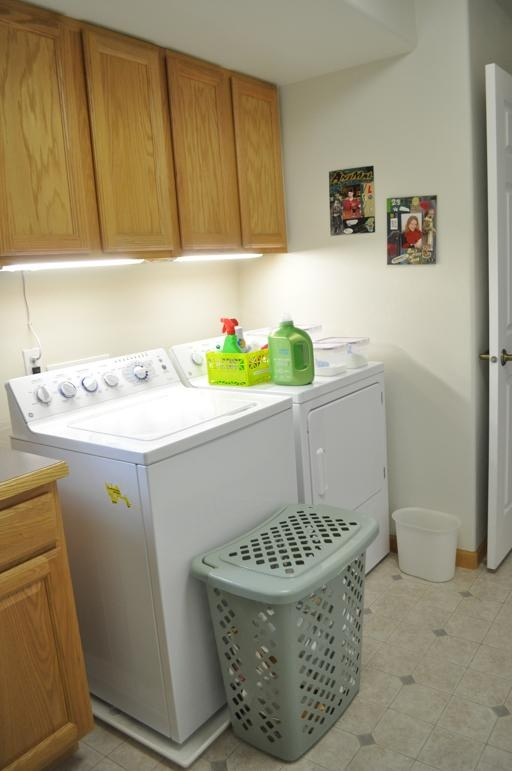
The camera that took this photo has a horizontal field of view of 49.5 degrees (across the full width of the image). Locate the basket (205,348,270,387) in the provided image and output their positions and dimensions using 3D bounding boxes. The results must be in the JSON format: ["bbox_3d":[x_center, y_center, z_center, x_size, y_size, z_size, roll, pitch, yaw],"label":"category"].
[{"bbox_3d":[-0.075,-0.062,2.100,0.163,0.113,0.169,-2,5,21],"label":"basket"}]

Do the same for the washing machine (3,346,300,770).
[{"bbox_3d":[-0.193,0.309,2.181,0.920,1.411,1.041,11,20,35],"label":"washing machine"}]

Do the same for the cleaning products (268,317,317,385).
[{"bbox_3d":[0.117,-0.124,2.034,0.143,0.239,0.128,3,14,35],"label":"cleaning products"}]
